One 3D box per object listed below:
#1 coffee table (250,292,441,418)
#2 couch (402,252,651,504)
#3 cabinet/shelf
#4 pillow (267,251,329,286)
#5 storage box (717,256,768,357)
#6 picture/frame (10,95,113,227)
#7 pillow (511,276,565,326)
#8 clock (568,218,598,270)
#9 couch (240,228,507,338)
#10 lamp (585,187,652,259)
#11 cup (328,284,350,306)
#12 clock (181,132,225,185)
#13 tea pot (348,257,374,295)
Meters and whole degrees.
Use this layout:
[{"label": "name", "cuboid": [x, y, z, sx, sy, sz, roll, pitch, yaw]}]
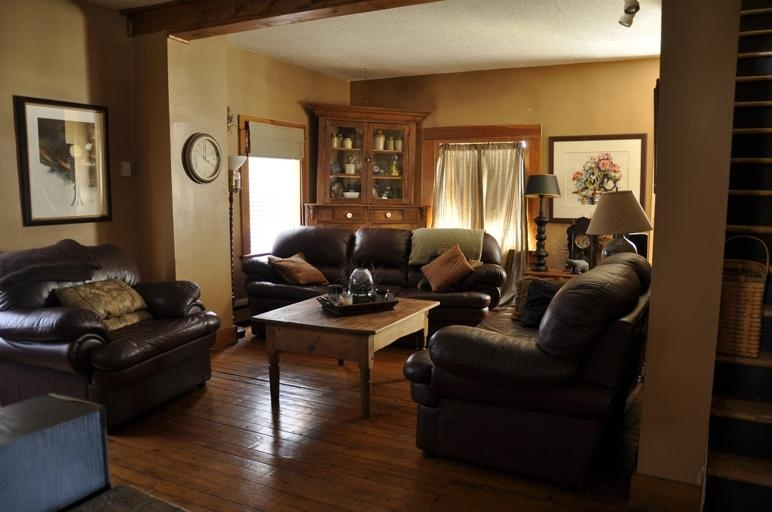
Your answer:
[{"label": "coffee table", "cuboid": [-0.308, 0.772, 4.761, 1.210, 0.613, 1.400, 1, 6, 18]}, {"label": "couch", "cuboid": [1.253, 0.639, 4.257, 1.402, 1.293, 2.172, 2, 8, 30]}, {"label": "cabinet/shelf", "cuboid": [-0.360, -1.248, 7.601, 2.019, 1.991, 0.610, 0, 0, -8]}, {"label": "pillow", "cuboid": [-0.959, 0.157, 6.234, 0.624, 0.292, 0.431, 8, 16, 30]}, {"label": "storage box", "cuboid": [2.094, 0.317, 3.264, 0.227, 0.574, 0.106, 6, 16, 23]}, {"label": "picture/frame", "cuboid": [-2.837, -0.843, 4.880, 0.124, 1.082, 0.840, 10, 18, 36]}, {"label": "pillow", "cuboid": [1.202, 0.361, 4.603, 0.425, 0.408, 0.160, -11, 23, -34]}, {"label": "clock", "cuboid": [2.377, -0.033, 6.698, 0.397, 0.897, 0.113, 1, 27, 21]}, {"label": "couch", "cuboid": [-0.124, 0.271, 6.287, 2.875, 1.158, 1.035, 1, 6, 12]}, {"label": "lamp", "cuboid": [2.151, -0.184, 5.074, 0.563, 0.827, 0.543, -5, 3, 3]}, {"label": "cup", "cuboid": [-0.395, 0.328, 4.620, 0.210, 0.194, 0.120, 1, -3, -20]}, {"label": "clock", "cuboid": [-1.784, -0.957, 5.422, 0.075, 0.490, 0.508, 5, 12, 21]}, {"label": "tea pot", "cuboid": [-0.175, 0.178, 4.735, 0.216, 0.278, 0.211, -11, 23, 5]}]
